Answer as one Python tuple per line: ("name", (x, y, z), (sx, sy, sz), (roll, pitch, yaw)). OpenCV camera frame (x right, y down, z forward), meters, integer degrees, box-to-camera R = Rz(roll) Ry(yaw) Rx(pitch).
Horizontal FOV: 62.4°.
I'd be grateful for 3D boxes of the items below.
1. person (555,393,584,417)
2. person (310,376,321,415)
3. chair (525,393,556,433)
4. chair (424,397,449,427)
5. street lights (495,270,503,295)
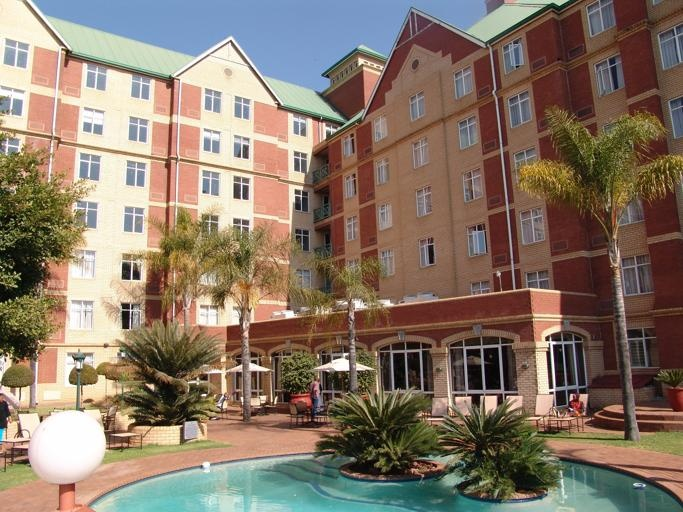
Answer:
("person", (9.793, 6.414, 24.303), (1.029, 1.150, 0.834), (10, -19, -23))
("person", (-1.249, 6.857, 27.207), (0.398, 1.610, 1.096), (0, -14, -6))
("chair", (8.035, 6.142, 22.252), (0.803, 1.378, 2.631), (-6, -15, 19))
("chair", (3.983, 6.462, 23.714), (1.035, 1.020, 3.004), (-4, -14, 9))
("street lights", (9.241, 1.398, 33.200), (0.319, 1.207, 0.389), (4, -15, -19))
